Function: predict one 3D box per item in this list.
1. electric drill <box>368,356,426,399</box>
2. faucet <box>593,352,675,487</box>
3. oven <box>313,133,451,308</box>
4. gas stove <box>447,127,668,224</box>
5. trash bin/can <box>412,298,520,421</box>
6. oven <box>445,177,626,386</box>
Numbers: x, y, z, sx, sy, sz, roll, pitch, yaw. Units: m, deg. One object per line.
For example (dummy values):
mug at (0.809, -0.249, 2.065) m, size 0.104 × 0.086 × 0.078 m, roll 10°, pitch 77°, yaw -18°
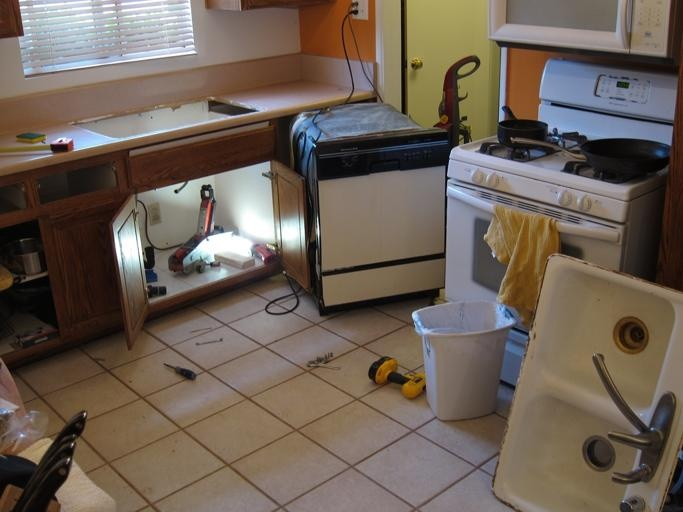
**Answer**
electric drill at (0.286, 0.614, 2.692) m, size 0.254 × 0.131 × 0.174 m, roll 26°, pitch 14°, yaw 34°
faucet at (0.917, 0.492, 1.658) m, size 0.199 × 0.457 × 0.251 m, roll 11°, pitch 23°, yaw 21°
oven at (0.202, -0.400, 3.497) m, size 0.878 × 1.281 × 0.932 m, roll -9°, pitch 27°, yaw -14°
gas stove at (0.926, -0.333, 2.249) m, size 0.532 × 0.161 × 0.794 m, roll -17°, pitch 26°, yaw -35°
trash bin/can at (0.531, 0.409, 2.611) m, size 0.554 × 0.511 × 0.498 m, roll -5°, pitch 22°, yaw -2°
oven at (0.787, 0.092, 2.133) m, size 0.474 × 0.723 × 0.725 m, roll -9°, pitch 21°, yaw -29°
